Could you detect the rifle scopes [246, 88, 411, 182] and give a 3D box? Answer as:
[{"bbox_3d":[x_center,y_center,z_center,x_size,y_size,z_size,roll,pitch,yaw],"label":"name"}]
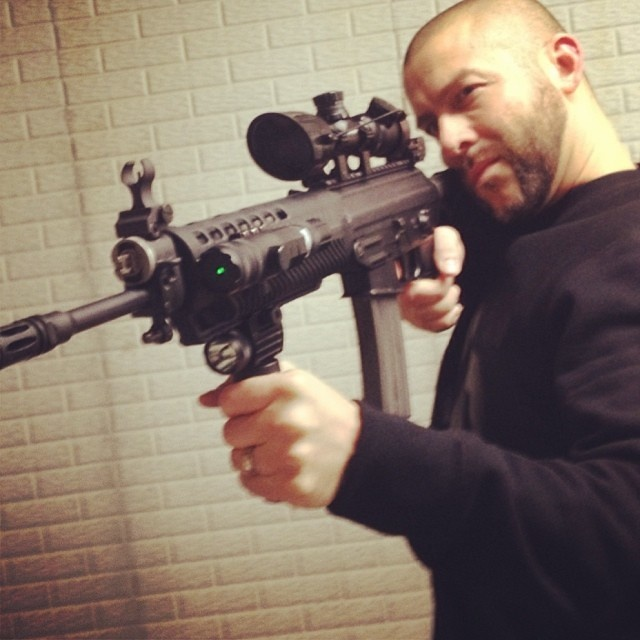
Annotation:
[{"bbox_3d":[0.089,-0.300,1.495,0.126,0.342,0.111,-11,89,44],"label":"rifle scopes"}]
